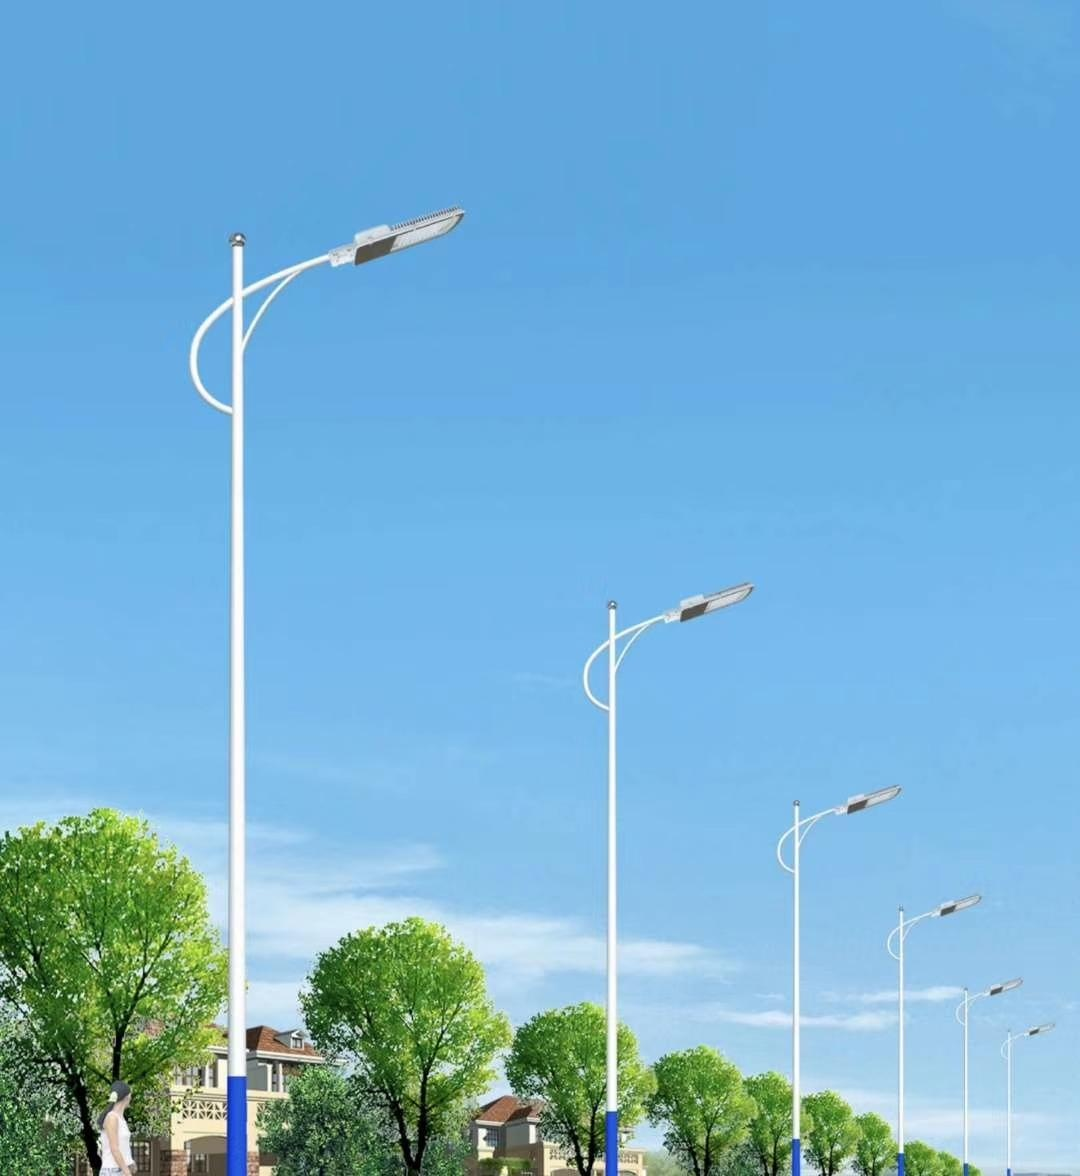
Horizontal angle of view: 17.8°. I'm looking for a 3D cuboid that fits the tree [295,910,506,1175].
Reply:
[{"bbox_3d":[-4.692,16.542,124.249,6.302,9.126,1.949,-1,-12,0],"label":"tree"}]
